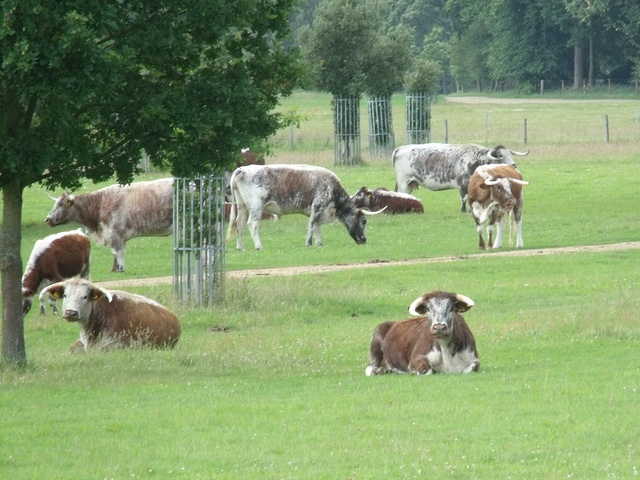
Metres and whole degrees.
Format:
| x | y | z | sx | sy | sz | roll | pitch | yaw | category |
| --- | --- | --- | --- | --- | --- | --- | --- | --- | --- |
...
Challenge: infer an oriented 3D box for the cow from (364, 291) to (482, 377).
| x | y | z | sx | sy | sz | roll | pitch | yaw | category |
| --- | --- | --- | --- | --- | --- | --- | --- | --- | --- |
| 2.363 | 2.223 | 37.394 | 2.448 | 2.040 | 0.930 | 5 | 13 | 27 | cow |

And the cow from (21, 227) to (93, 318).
| x | y | z | sx | sy | sz | roll | pitch | yaw | category |
| --- | --- | --- | --- | --- | --- | --- | --- | --- | --- |
| -7.494 | 1.138 | 45.550 | 1.023 | 2.119 | 3.803 | 2 | 14 | 28 | cow |

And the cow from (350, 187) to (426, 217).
| x | y | z | sx | sy | sz | roll | pitch | yaw | category |
| --- | --- | --- | --- | --- | --- | --- | --- | --- | --- |
| 2.396 | -1.167 | 58.361 | 1.780 | 1.093 | 2.067 | 1 | 8 | 39 | cow |

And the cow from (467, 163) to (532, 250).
| x | y | z | sx | sy | sz | roll | pitch | yaw | category |
| --- | --- | --- | --- | --- | --- | --- | --- | --- | --- |
| 5.592 | -0.932 | 53.432 | 1.611 | 2.877 | 5.065 | 2 | 2 | 1 | cow |

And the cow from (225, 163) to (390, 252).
| x | y | z | sx | sy | sz | roll | pitch | yaw | category |
| --- | --- | --- | --- | --- | --- | --- | --- | --- | --- |
| -0.928 | -1.020 | 53.724 | 4.307 | 2.645 | 1.317 | -3 | 11 | -7 | cow |

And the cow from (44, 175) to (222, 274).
| x | y | z | sx | sy | sz | roll | pitch | yaw | category |
| --- | --- | --- | --- | --- | --- | --- | --- | --- | --- |
| -6.106 | -0.474 | 51.386 | 4.868 | 2.794 | 1.451 | -9 | 15 | -20 | cow |
